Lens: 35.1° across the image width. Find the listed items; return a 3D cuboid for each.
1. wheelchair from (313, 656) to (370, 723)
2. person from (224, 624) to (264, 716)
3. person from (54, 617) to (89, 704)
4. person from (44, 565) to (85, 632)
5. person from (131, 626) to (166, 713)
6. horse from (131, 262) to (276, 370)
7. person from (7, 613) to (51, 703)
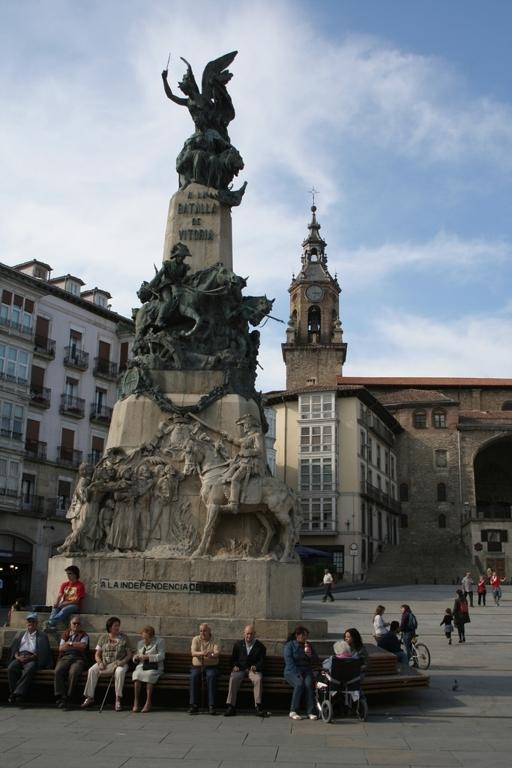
[{"bbox_3d":[1.002,3.671,9.730,0.544,0.721,0.835,6,-16,-14],"label":"wheelchair"},{"bbox_3d":[-0.157,3.542,10.021,0.428,0.961,0.491,1,-8,-3],"label":"person"},{"bbox_3d":[-2.376,3.544,10.371,0.379,0.971,0.383,0,-8,0],"label":"person"},{"bbox_3d":[-2.805,3.103,11.787,0.434,0.891,0.588,-7,-16,32],"label":"person"},{"bbox_3d":[-1.367,3.575,10.182,0.389,0.967,0.456,3,-10,-7],"label":"person"},{"bbox_3d":[-0.990,-1.136,15.398,2.378,2.397,1.954,-5,1,28],"label":"horse"},{"bbox_3d":[-2.902,3.473,10.386,0.481,1.066,0.514,1,-8,-3],"label":"person"}]
